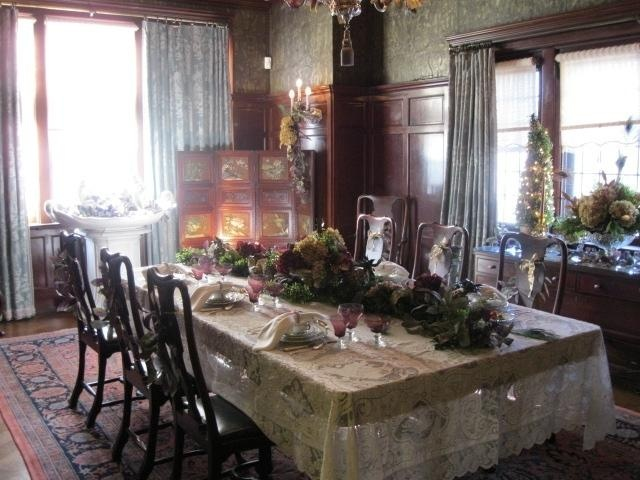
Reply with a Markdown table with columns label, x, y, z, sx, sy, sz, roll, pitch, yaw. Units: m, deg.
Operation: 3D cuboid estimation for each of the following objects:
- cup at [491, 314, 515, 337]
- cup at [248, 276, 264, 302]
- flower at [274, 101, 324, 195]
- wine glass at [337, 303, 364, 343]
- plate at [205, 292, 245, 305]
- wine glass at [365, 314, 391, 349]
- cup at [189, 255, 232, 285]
| label | x | y | z | sx | sy | sz | roll | pitch | yaw |
| --- | --- | --- | --- | --- | --- | --- | --- | --- | --- |
| cup | 0.834 | 0.389 | 2.186 | 0.091 | 0.111 | 0.092 | 2 | -1 | 0 |
| cup | -0.357 | 0.273 | 2.759 | 0.105 | 0.177 | 0.107 | 0 | 10 | 0 |
| flower | -0.234 | -1.113 | 5.960 | 0.321 | 1.103 | 0.581 | -13 | 18 | -42 |
| wine glass | 0.141 | 0.378 | 2.244 | 0.138 | 0.241 | 0.157 | -2 | 0 | -2 |
| plate | -0.547 | 0.345 | 2.821 | 0.100 | 0.019 | 0.102 | -8 | 18 | -33 |
| wine glass | 0.253 | 0.410 | 2.253 | 0.122 | 0.148 | 0.127 | 4 | 9 | 35 |
| cup | -0.727 | 0.203 | 3.227 | 0.242 | 0.165 | 0.164 | 1 | 2 | 20 |
